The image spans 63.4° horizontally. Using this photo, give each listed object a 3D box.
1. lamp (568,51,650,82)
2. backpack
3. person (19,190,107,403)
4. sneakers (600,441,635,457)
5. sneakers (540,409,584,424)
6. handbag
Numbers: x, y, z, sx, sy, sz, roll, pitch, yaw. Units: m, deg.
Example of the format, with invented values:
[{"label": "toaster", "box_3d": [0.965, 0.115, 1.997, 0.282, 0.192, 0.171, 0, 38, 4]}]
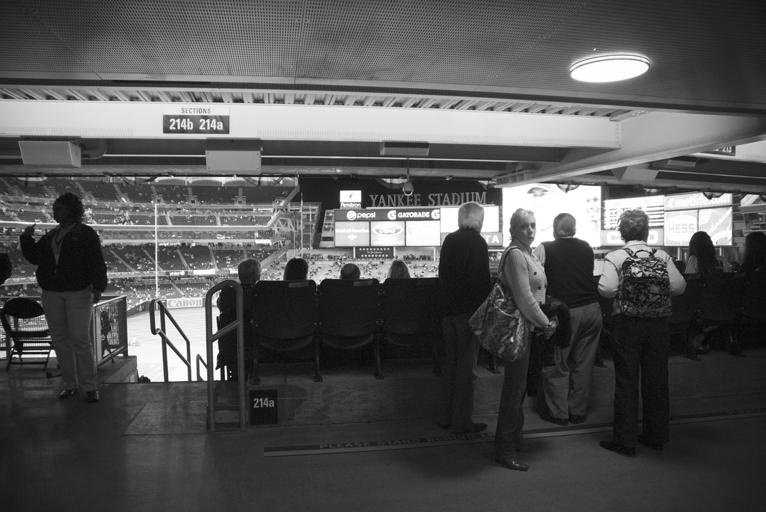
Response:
[{"label": "lamp", "box_3d": [1.957, -1.635, 5.341, 0.681, 0.148, 0.439, -2, 2, 9]}, {"label": "backpack", "box_3d": [2.345, 0.236, 5.594, 0.452, 0.622, 0.248, -2, 3, 17]}, {"label": "person", "box_3d": [-3.381, 0.430, 6.641, 0.810, 1.551, 0.372, -2, 3, 16]}, {"label": "sneakers", "box_3d": [2.125, 1.729, 5.623, 0.113, 0.104, 0.300, 0, 5, -32]}, {"label": "sneakers", "box_3d": [1.784, 1.582, 6.188, 0.428, 0.171, 0.138, -3, -1, 0]}, {"label": "handbag", "box_3d": [1.036, 0.542, 5.459, 0.435, 0.843, 0.666, 16, -16, -34]}]
